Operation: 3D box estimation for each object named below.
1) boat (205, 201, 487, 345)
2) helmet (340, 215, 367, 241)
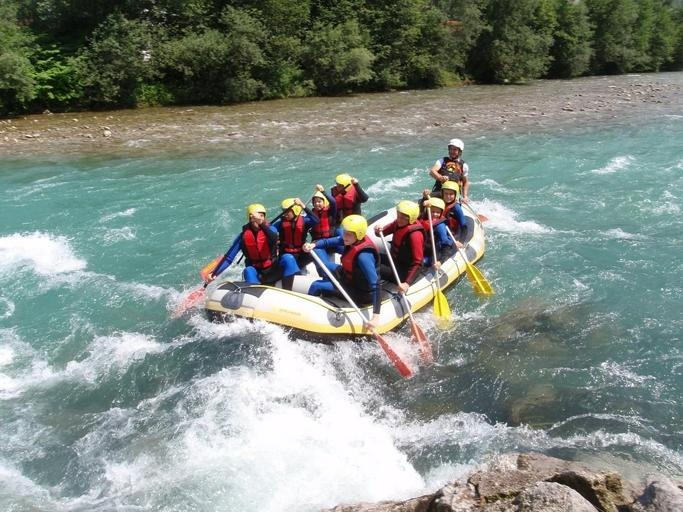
[{"bbox_3d":[0.924,0.445,10.429,4.903,0.654,2.307,-22,41,-34],"label":"boat"},{"bbox_3d":[0.214,-0.453,9.301,0.428,0.415,0.278,-13,23,-17],"label":"helmet"}]
